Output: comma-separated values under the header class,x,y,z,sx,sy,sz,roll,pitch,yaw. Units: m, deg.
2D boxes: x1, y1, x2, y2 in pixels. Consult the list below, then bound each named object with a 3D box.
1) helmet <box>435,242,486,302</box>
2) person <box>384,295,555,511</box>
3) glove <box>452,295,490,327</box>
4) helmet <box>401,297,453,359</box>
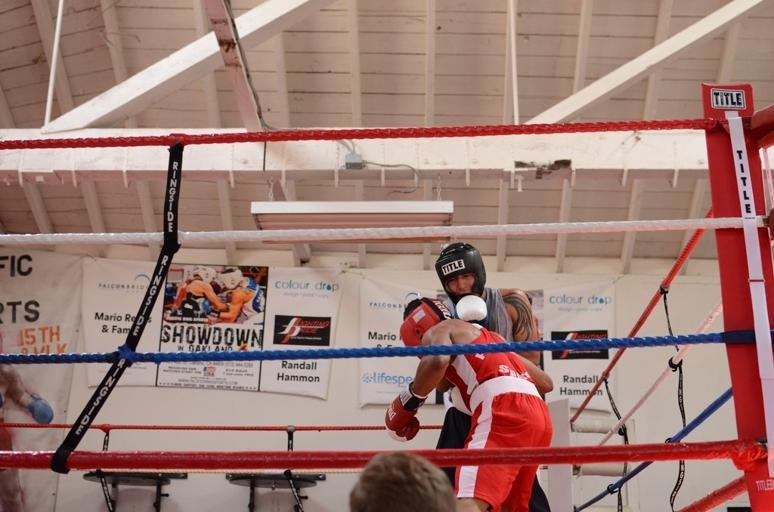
class,x,y,z,sx,sy,sz,roll,pitch,yaw
helmet,0.566,0.115,7.179,0.357,0.351,0.395,-9,-9,3
person,0.581,1.022,6.761,1.174,1.484,0.711,2,-25,4
glove,0.581,0.391,6.949,0.243,0.194,0.173,-6,-17,-9
helmet,0.350,0.491,7.095,0.414,0.352,0.294,27,12,-4
